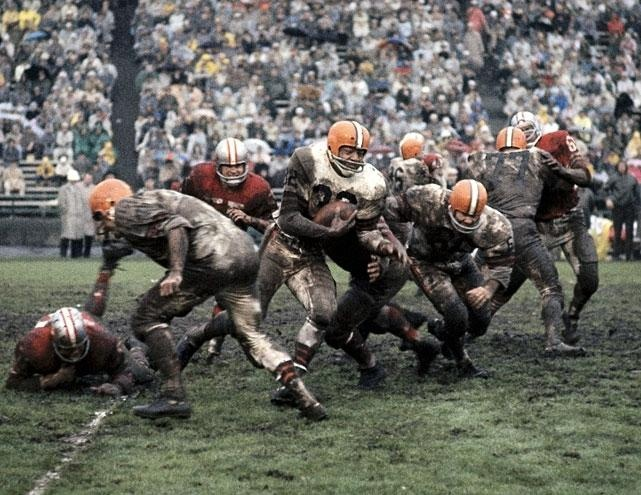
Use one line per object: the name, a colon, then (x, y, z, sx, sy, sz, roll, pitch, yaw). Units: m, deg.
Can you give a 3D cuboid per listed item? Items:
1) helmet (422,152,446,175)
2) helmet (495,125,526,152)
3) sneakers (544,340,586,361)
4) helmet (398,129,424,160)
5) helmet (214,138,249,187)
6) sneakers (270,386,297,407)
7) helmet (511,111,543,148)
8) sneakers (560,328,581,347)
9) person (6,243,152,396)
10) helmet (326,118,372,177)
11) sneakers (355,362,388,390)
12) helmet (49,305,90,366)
helmet: (1.648, -1.230, 18.154, 0.306, 0.299, 0.237, 4, 25, 15)
helmet: (2.569, -1.424, 16.782, 0.279, 0.298, 0.363, 2, -29, 14)
sneakers: (3.183, 1.368, 16.352, 0.573, 0.245, 0.210, -3, -1, 10)
helmet: (1.303, -1.388, 17.585, 0.360, 0.418, 0.307, 16, 17, -12)
helmet: (-1.161, -1.134, 16.117, 0.427, 0.510, 0.582, -3, 41, -9)
sneakers: (-0.438, 1.810, 15.078, 0.299, 0.200, 0.141, 12, 46, 33)
helmet: (2.873, -1.652, 17.583, 0.408, 0.570, 0.565, -12, 0, 14)
sneakers: (3.360, 1.219, 16.734, 0.231, 0.224, 0.178, 0, -1, 8)
person: (-3.037, 1.061, 15.828, 1.298, 1.186, 1.733, 4, 0, -9)
helmet: (0.317, -1.231, 15.104, 0.481, 0.647, 0.541, -1, 12, -34)
sneakers: (0.653, 1.625, 15.586, 0.386, 0.267, 0.234, -8, -5, -44)
helmet: (-3.064, 1.035, 15.187, 0.440, 0.539, 0.622, -12, 46, -22)
